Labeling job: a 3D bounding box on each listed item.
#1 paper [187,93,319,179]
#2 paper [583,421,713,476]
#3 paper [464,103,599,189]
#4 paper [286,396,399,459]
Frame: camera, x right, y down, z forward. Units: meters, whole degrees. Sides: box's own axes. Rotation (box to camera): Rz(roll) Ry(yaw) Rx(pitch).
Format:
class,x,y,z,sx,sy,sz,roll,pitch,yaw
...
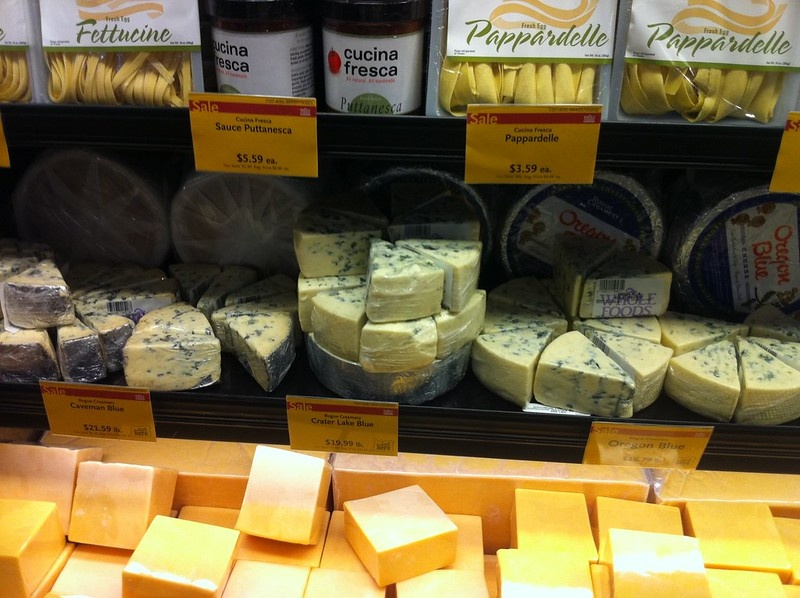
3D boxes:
class,x,y,z,sx,sy,sz,roll,pitch,yaw
paper,-0.290,-0.329,1.190,0.207,0.124,0.004,5,37,9
paper,0.593,0.350,1.430,0.366,0.204,0.013,0,51,3
paper,0.259,-0.309,1.179,0.192,0.109,0.019,1,38,1
paper,-0.134,0.297,1.419,0.221,0.124,0.008,3,40,3
